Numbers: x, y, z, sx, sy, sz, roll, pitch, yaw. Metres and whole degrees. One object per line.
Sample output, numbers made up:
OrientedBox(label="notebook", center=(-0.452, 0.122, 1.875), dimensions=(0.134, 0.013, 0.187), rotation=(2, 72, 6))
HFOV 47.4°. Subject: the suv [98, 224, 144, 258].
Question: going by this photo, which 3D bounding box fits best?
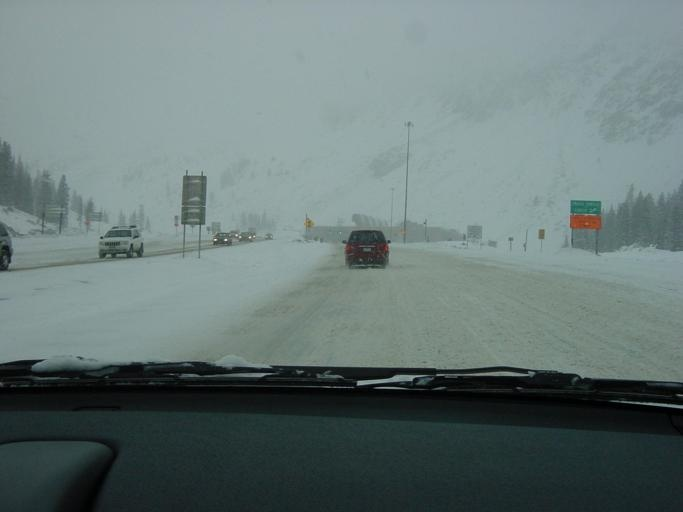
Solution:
OrientedBox(label="suv", center=(-8.924, -0.611, 31.433), dimensions=(0.986, 0.998, 1.928), rotation=(-1, -2, -3))
